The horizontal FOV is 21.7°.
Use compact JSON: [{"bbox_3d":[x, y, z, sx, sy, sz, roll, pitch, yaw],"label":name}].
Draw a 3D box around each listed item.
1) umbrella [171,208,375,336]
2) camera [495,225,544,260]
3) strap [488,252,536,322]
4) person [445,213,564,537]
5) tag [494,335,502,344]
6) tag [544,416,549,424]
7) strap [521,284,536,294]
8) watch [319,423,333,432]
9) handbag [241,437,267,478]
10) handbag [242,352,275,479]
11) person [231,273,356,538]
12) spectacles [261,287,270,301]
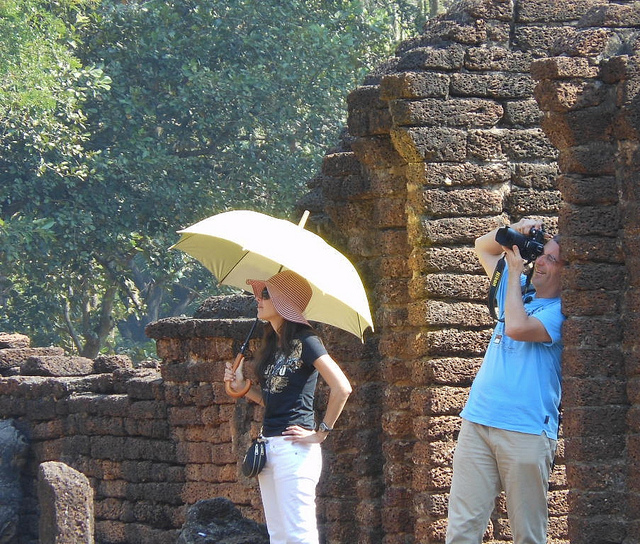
[{"bbox_3d":[-0.496,0.072,14.849,1.385,0.632,1.439,-3,8,-8],"label":"umbrella"},{"bbox_3d":[1.692,-0.225,14.010,0.309,0.192,0.294,23,0,-10],"label":"camera"},{"bbox_3d":[1.588,0.091,14.143,0.300,0.626,0.126,19,-15,-13],"label":"strap"},{"bbox_3d":[1.574,0.883,14.050,0.918,2.670,0.497,1,-5,5],"label":"person"},{"bbox_3d":[1.507,0.571,14.047,0.070,0.097,0.007,9,-26,42],"label":"tag"},{"bbox_3d":[1.892,1.232,13.852,0.039,0.063,0.009,5,-7,-37],"label":"tag"},{"bbox_3d":[1.796,0.152,14.340,0.114,0.042,0.083,-3,-3,31],"label":"strap"},{"bbox_3d":[0.047,1.323,14.202,0.081,0.048,0.067,14,-1,-44],"label":"watch"},{"bbox_3d":[-0.566,1.574,14.196,0.172,0.336,0.196,4,-6,-26],"label":"handbag"},{"bbox_3d":[-0.524,1.213,14.250,0.251,1.068,0.183,1,-5,-3],"label":"handbag"},{"bbox_3d":[-0.205,1.141,14.260,0.855,2.257,0.385,1,-5,6],"label":"person"},{"bbox_3d":[-0.461,0.188,14.402,0.083,0.154,0.089,1,-6,-1],"label":"spectacles"}]
